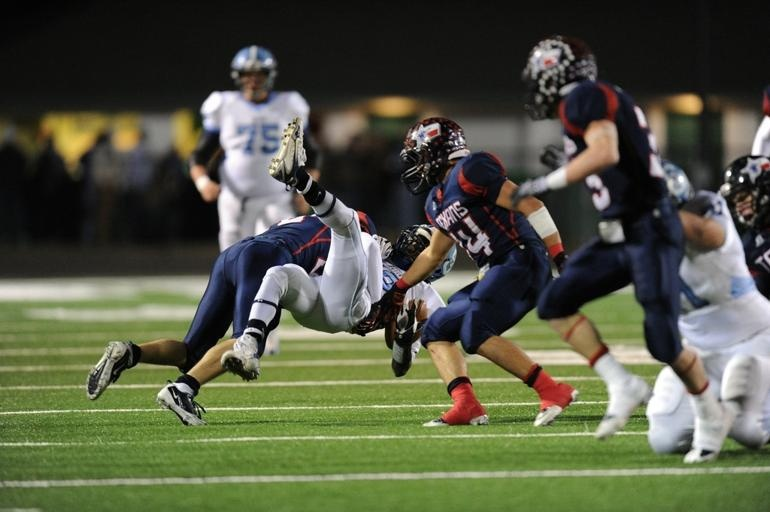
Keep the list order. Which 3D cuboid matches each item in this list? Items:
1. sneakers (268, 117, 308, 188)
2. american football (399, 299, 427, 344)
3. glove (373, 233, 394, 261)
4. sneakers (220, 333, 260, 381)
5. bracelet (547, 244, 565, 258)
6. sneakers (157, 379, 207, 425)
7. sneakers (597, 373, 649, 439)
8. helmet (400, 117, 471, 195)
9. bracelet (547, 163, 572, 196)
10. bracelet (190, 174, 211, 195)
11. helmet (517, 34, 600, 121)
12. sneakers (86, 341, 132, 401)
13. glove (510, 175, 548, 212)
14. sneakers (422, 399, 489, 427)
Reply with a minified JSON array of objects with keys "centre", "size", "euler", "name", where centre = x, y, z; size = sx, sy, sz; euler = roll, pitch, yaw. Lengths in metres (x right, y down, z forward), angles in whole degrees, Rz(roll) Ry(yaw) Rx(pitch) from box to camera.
[{"centre":[-0.583,-0.563,5.794],"size":[0.203,0.444,0.155],"euler":[20,-12,-42],"name":"sneakers"},{"centre":[0.175,0.411,6.442],"size":[0.187,0.263,0.156],"euler":[23,10,23],"name":"american football"},{"centre":[-0.045,-0.057,6.671],"size":[0.121,0.085,0.161],"euler":[40,7,34],"name":"glove"},{"centre":[-0.780,0.561,5.572],"size":[0.121,0.222,0.359],"euler":[25,-25,19],"name":"sneakers"},{"centre":[1.027,-0.038,6.002],"size":[0.075,0.074,0.073],"euler":[-14,-13,-14],"name":"bracelet"},{"centre":[-1.173,0.858,5.804],"size":[0.253,0.268,0.167],"euler":[1,5,6],"name":"sneakers"},{"centre":[1.275,0.813,5.349],"size":[0.192,0.385,0.137],"euler":[39,-2,-20],"name":"sneakers"},{"centre":[0.309,-0.669,6.382],"size":[0.495,0.446,0.419],"euler":[-21,-5,18],"name":"helmet"},{"centre":[0.879,-0.390,5.130],"size":[0.114,0.114,0.103],"euler":[-9,5,-1],"name":"bracelet"},{"centre":[-1.599,-0.589,8.655],"size":[0.182,0.140,0.184],"euler":[-1,20,14],"name":"bracelet"},{"centre":[0.946,-0.997,5.583],"size":[0.455,0.439,0.364],"euler":[-2,8,8],"name":"helmet"},{"centre":[-1.606,0.665,5.887],"size":[0.260,0.325,0.154],"euler":[0,5,-16],"name":"sneakers"},{"centre":[0.792,-0.326,5.274],"size":[0.232,0.081,0.137],"euler":[-24,28,4],"name":"glove"},{"centre":[0.387,0.930,5.946],"size":[0.442,0.201,0.141],"euler":[1,-11,0],"name":"sneakers"}]
